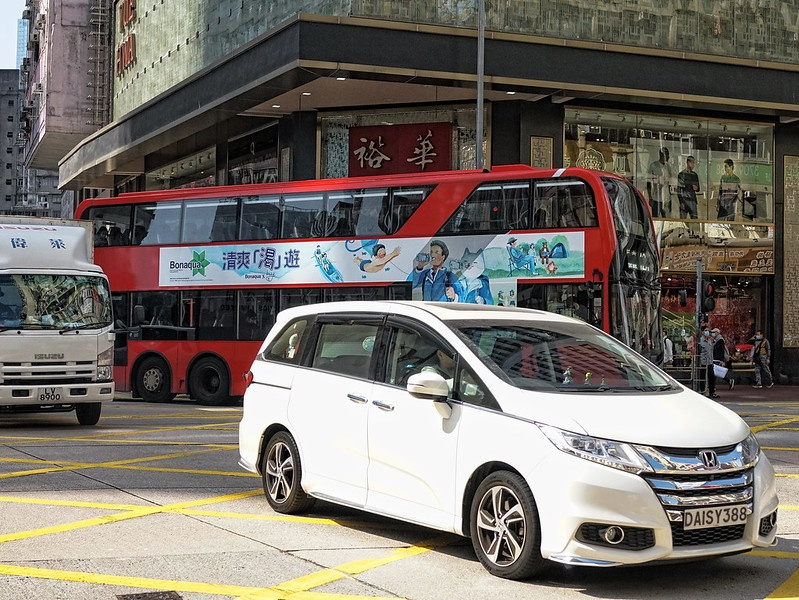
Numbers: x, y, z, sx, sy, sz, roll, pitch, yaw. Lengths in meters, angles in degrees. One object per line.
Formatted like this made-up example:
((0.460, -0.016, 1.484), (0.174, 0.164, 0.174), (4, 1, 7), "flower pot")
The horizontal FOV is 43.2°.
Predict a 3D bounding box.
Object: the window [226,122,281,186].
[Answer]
((-4.858, -4.535, 33.118), (0.126, 1.801, 3.292), (3, 8, 33), "window")

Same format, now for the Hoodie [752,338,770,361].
((10.741, 1.508, 30.170), (0.408, 0.714, 0.665), (10, -11, -42), "Hoodie")

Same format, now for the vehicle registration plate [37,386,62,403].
((-5.463, 1.469, 15.696), (0.279, 0.179, 0.005), (2, -1, -18), "vehicle registration plate")

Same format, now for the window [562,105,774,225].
((8.278, -4.032, 31.509), (0.127, 3.388, 7.662), (-18, 20, -34), "window")

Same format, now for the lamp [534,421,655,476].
((1.545, 1.185, 7.875), (0.944, 0.226, 0.168), (10, -5, 3), "lamp")

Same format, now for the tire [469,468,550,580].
((0.916, 1.849, 8.230), (0.280, 0.851, 0.875), (6, -9, -30), "tire")

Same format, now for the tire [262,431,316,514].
((-1.075, 1.711, 9.919), (0.226, 0.663, 0.676), (3, -28, -40), "tire")

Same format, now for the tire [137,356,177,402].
((-5.351, 1.746, 22.337), (0.823, 0.862, 0.315), (21, 4, 31), "tire")

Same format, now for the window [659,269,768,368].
((9.812, 0.447, 31.817), (2.778, 2.389, 1.026), (4, 26, 39), "window")

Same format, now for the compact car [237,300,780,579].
((0.788, 1.145, 8.958), (4.528, 2.185, 1.466), (2, 0, 37), "compact car")

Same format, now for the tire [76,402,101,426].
((-5.121, 1.875, 16.576), (0.441, 0.428, 0.158), (10, 9, 36), "tire")

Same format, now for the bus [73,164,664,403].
((-1.108, -0.416, 23.044), (15.969, 5.579, 4.867), (0, 0, 29), "bus")
